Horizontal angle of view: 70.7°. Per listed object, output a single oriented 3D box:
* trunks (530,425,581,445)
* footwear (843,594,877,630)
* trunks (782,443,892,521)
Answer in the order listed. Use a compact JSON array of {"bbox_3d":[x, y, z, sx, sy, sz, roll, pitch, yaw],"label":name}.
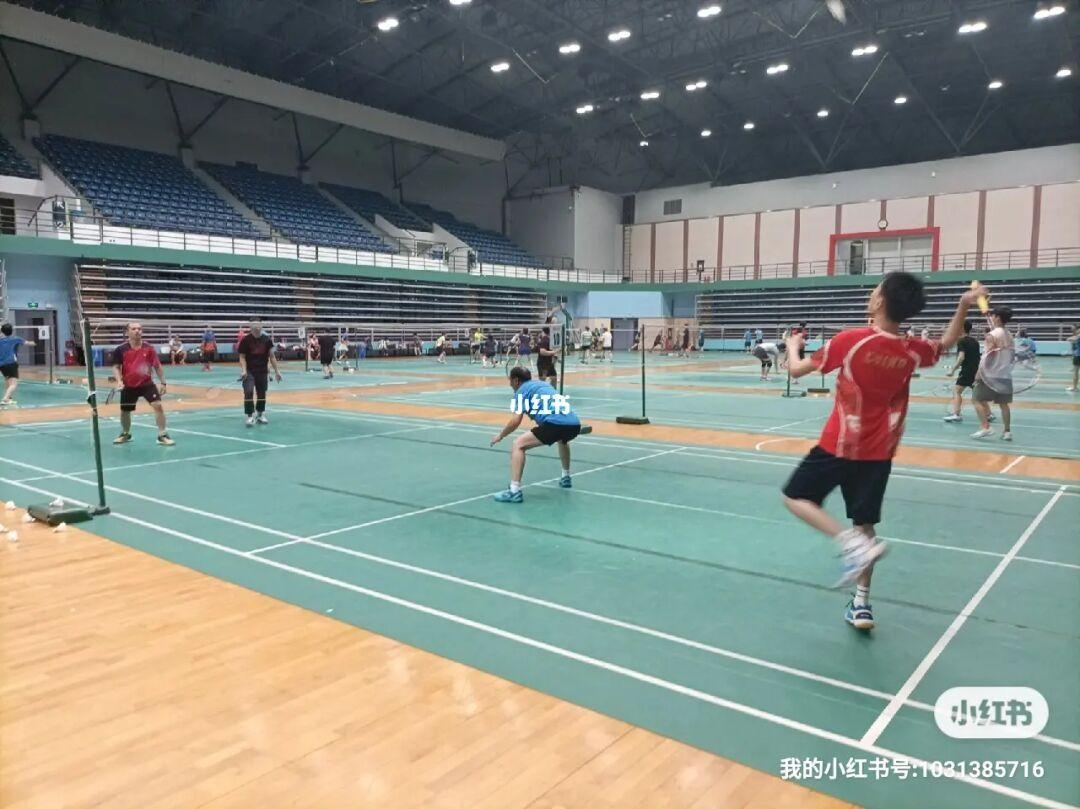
[{"bbox_3d":[0.154,0.304,7.989,0.290,0.156,0.308,-4,2,10],"label":"trunks"},{"bbox_3d":[2.116,1.380,5.037,0.104,0.144,0.299,1,1,6],"label":"footwear"},{"bbox_3d":[2.061,0.555,5.225,0.585,0.587,0.308,20,13,-2],"label":"trunks"}]
